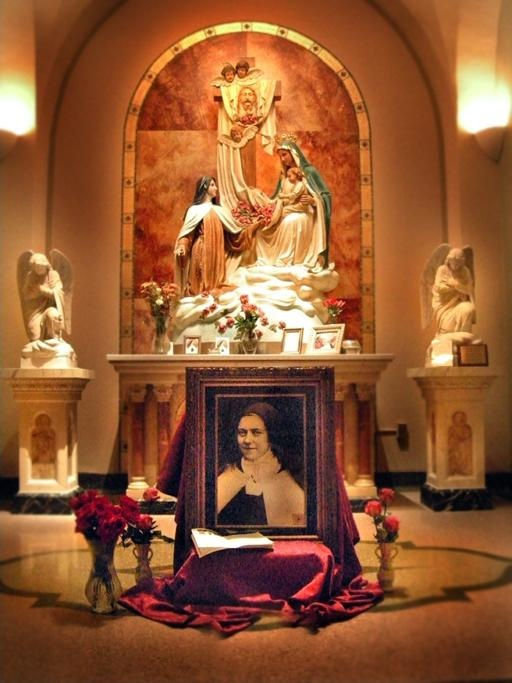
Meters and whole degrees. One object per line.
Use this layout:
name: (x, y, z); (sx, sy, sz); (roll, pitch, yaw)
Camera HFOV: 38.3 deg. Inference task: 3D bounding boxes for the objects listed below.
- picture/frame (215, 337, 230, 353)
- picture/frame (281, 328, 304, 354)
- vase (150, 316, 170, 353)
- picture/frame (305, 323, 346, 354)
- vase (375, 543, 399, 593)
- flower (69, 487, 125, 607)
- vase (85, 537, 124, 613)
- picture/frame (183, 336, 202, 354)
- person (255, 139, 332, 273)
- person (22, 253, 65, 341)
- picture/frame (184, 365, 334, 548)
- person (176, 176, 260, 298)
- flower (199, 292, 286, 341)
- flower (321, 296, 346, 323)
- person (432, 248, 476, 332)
picture/frame: (-0.256, 0.035, 5.605); (0.097, 0.110, 0.105); (0, 1, -8)
picture/frame: (0.275, -0.001, 5.602); (0.225, 0.263, 0.037); (-1, -34, 22)
vase: (-0.736, -0.048, 5.749); (0.117, 0.280, 0.148); (0, 1, -13)
picture/frame: (0.509, -0.018, 5.587); (0.284, 0.226, 0.433); (0, 1, 3)
vase: (0.627, 1.080, 3.585); (0.084, 0.236, 0.158); (0, 1, 9)
flower: (-0.711, 0.938, 3.315); (0.221, 0.530, 0.282); (-1, 1, -14)
vase: (-0.694, 1.045, 3.352); (0.190, 0.364, 0.181); (0, 3, 12)
picture/frame: (-0.490, 0.027, 5.679); (0.172, 0.198, 0.026); (2, -39, -5)
person: (0.303, -1.188, 6.258); (0.581, 1.168, 0.296); (0, 1, 30)
person: (-1.598, -0.323, 5.572); (0.302, 0.664, 0.179); (-1, 1, -17)
picture/frame: (0.023, 0.545, 3.315); (0.918, 1.043, 0.081); (0, -2, -2)
person: (-0.359, -0.897, 6.229); (0.601, 1.045, 0.461); (-1, 1, -40)
flower: (-0.106, -0.159, 5.720); (0.474, 0.261, 0.446); (3, 1, -14)
flower: (0.641, -0.270, 6.096); (0.245, 0.225, 0.249); (0, 36, 3)
person: (1.486, -0.380, 5.661); (0.360, 0.668, 0.257); (0, 1, 31)
